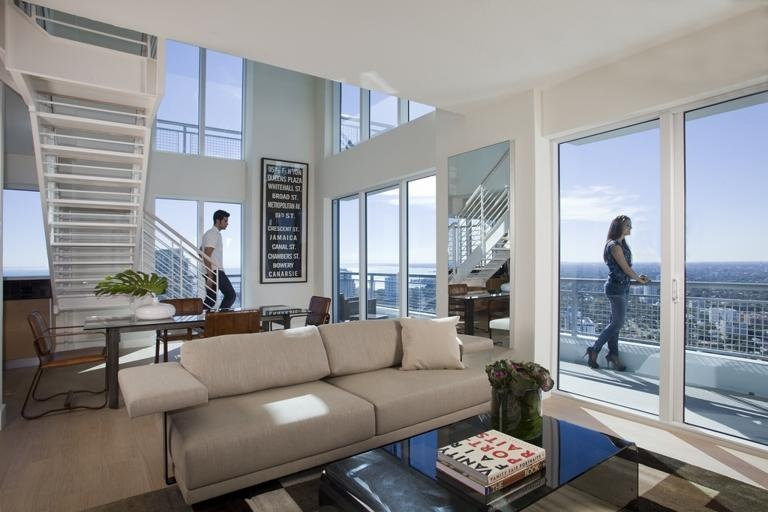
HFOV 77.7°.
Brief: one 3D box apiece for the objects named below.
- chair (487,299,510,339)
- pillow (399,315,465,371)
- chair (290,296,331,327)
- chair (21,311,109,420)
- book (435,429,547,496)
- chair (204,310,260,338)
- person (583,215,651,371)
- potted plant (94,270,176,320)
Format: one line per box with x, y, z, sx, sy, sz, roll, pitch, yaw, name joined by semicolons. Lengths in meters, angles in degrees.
1.400;0.739;5.790;0.243;0.494;0.148;3;14;14;chair
0.484;0.922;4.950;0.543;0.465;0.190;3;-26;-8;pillow
-1.040;0.814;6.957;0.458;0.648;0.489;-3;-10;39;chair
-3.706;1.197;5.572;0.942;1.064;0.761;-1;2;-19;chair
0.781;1.403;3.327;0.504;0.100;0.366;-4;6;-42;book
-1.736;0.734;5.395;0.483;0.451;0.314;1;5;-30;chair
2.572;0.421;5.180;0.507;1.686;0.380;8;16;33;person
-2.924;0.430;5.634;0.840;0.362;0.849;15;7;-3;potted plant
